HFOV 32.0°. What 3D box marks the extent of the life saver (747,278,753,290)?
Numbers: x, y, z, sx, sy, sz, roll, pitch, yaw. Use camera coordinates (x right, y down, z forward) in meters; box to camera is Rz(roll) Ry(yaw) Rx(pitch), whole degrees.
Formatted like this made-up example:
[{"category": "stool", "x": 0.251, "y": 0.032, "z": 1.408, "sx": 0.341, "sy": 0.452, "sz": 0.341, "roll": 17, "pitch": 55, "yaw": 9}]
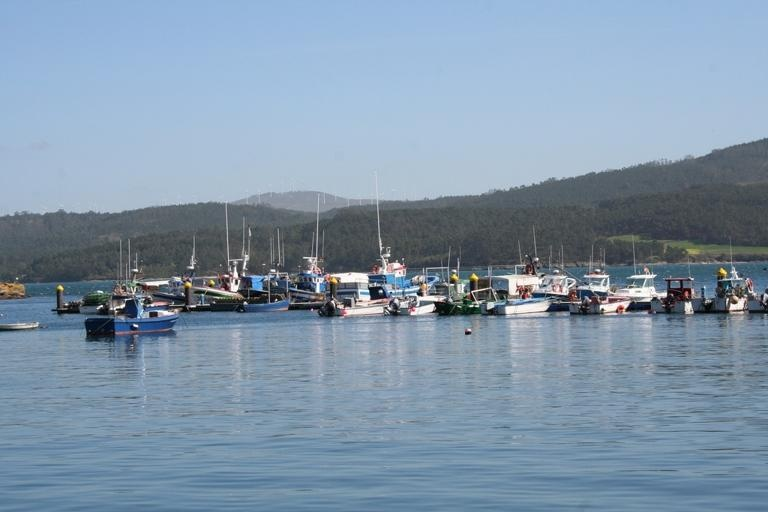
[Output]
[{"category": "life saver", "x": 36.819, "y": 2.884, "z": 134.465, "sx": 0.436, "sy": 1.327, "sz": 1.113, "roll": -3, "pitch": -6, "yaw": 22}]
